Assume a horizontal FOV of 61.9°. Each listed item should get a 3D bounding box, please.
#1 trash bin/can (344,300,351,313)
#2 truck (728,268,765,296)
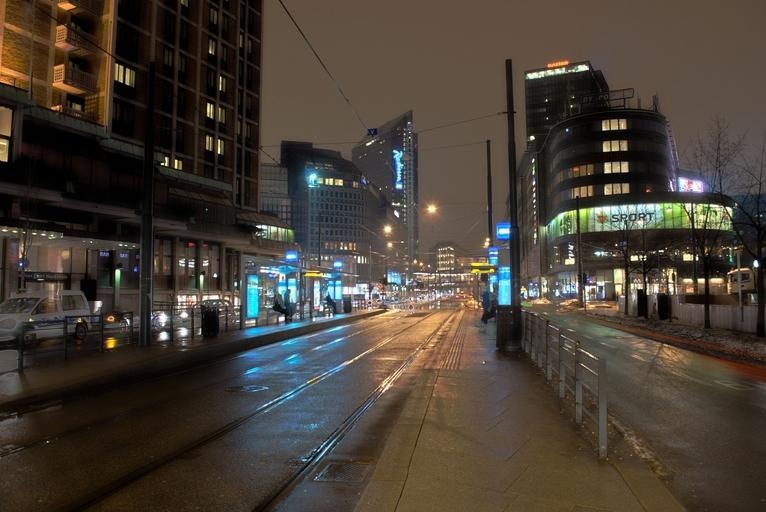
[{"bbox_3d":[-3.126,4.335,55.997,0.462,1.060,0.827,-8,-8,40],"label":"trash bin/can"},{"bbox_3d":[27.520,1.849,48.950,1.303,2.339,11.045,-6,-8,25],"label":"truck"}]
